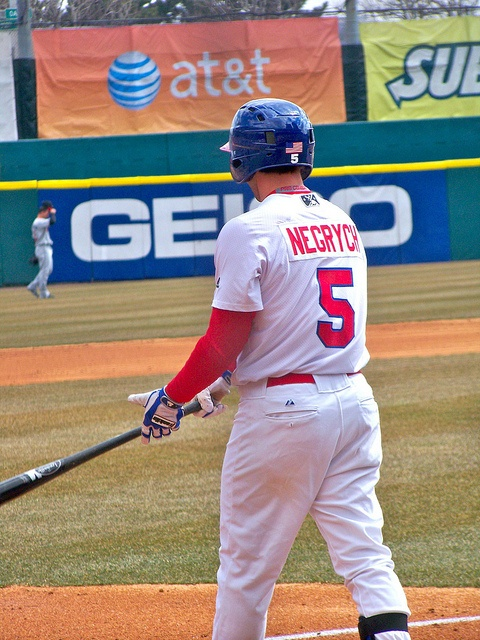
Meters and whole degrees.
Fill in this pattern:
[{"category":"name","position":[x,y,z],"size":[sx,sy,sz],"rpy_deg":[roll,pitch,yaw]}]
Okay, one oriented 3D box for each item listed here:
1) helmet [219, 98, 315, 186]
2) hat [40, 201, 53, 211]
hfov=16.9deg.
[{"category":"helmet","position":[0.118,-0.794,7.054],"size":[0.272,0.332,0.380],"rpy_deg":[-5,14,-30]},{"category":"hat","position":[-1.210,-0.713,10.086],"size":[0.085,0.072,0.121],"rpy_deg":[5,3,-7]}]
